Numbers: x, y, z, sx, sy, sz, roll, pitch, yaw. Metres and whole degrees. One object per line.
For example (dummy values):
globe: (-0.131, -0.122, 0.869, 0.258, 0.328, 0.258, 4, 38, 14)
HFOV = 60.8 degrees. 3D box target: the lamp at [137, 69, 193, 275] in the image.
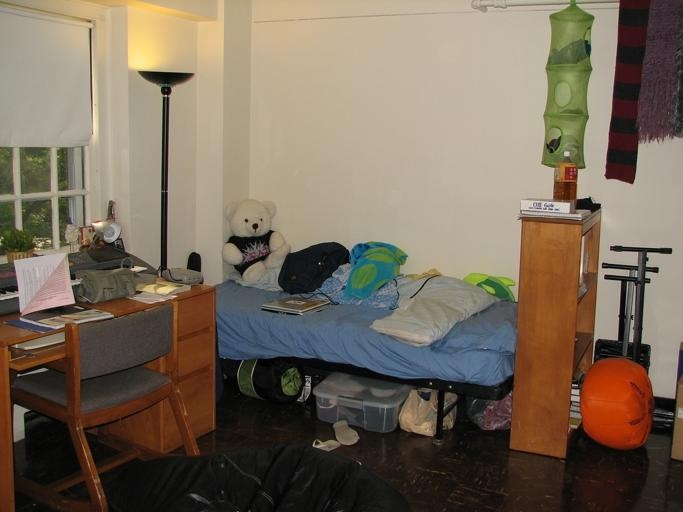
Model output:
lamp: (-1.217, -0.599, 4.113, 0.253, 1.363, 0.357, 5, 12, 30)

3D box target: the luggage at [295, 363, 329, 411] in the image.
luggage: (-0.203, 0.839, 3.782, 0.211, 0.307, 0.315, 2, 1, 19)

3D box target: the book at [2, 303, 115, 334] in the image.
book: (-1.298, 0.274, 2.711, 0.409, 0.057, 0.351, 2, 11, 19)

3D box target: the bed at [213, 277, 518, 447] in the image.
bed: (0.158, 0.554, 3.634, 1.690, 0.419, 0.828, 4, 11, 21)

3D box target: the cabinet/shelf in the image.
cabinet/shelf: (1.201, 0.453, 3.272, 0.375, 1.318, 1.258, 1, 10, 17)

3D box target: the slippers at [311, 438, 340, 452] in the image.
slippers: (-0.087, 1.082, 3.358, 0.168, 0.037, 0.120, 0, 10, 6)

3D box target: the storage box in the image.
storage box: (0.126, 0.883, 3.594, 0.426, 0.153, 0.356, 4, 11, 25)

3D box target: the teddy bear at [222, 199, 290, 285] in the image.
teddy bear: (-0.656, -0.123, 4.467, 0.469, 0.617, 0.500, -14, 21, -36)

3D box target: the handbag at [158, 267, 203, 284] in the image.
handbag: (-0.915, 0.108, 3.321, 0.147, 0.048, 0.113, 6, 6, 16)

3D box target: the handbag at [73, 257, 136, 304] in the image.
handbag: (-1.216, 0.130, 3.024, 0.155, 0.195, 0.292, 3, 9, 31)

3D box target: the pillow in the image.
pillow: (0.558, 0.315, 3.517, 0.436, 0.115, 0.551, 0, 11, 35)
